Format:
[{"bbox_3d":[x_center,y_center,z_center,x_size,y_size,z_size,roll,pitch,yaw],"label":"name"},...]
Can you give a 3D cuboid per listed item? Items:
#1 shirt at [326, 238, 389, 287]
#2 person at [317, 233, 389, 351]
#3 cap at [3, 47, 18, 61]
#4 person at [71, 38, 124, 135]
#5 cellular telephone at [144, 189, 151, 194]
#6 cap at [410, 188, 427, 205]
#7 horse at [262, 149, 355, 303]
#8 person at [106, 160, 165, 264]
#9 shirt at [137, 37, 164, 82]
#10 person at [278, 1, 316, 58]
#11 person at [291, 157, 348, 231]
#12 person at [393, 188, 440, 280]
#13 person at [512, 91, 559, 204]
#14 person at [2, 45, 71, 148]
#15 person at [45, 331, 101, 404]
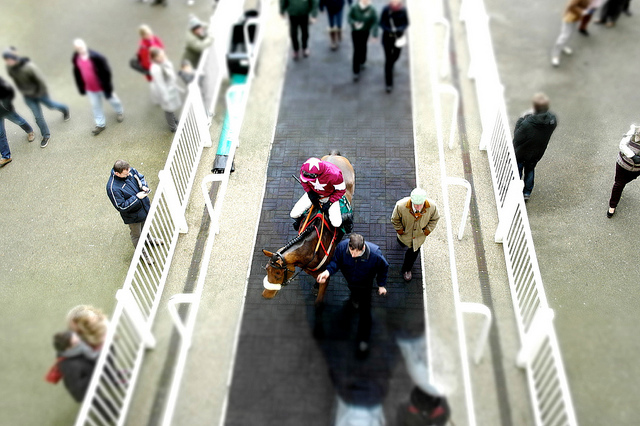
[{"bbox_3d":[0.604,0.976,8.149,0.964,1.238,0.568,6,46,7],"label":"shirt"},{"bbox_3d":[0.603,1.179,8.164,1.014,2.062,0.836,1,39,5],"label":"person"},{"bbox_3d":[-6.599,-3.385,10.431,0.305,0.308,0.266,10,25,39],"label":"cap"},{"bbox_3d":[-5.267,-3.040,11.355,0.837,2.123,1.047,-19,41,-19],"label":"person"},{"bbox_3d":[-3.310,-0.407,9.332,0.098,0.029,0.107,-11,29,26],"label":"cellular telephone"},{"bbox_3d":[1.621,-0.268,7.992,0.223,0.219,0.258,18,44,22],"label":"cap"},{"bbox_3d":[-0.193,0.342,8.631,0.540,1.675,2.440,17,85,12],"label":"horse"},{"bbox_3d":[-3.520,-0.082,9.228,0.676,1.960,0.497,-24,43,-24],"label":"person"},{"bbox_3d":[-3.869,-3.394,11.047,0.362,1.115,0.376,11,35,-19],"label":"shirt"},{"bbox_3d":[-0.494,-4.499,11.974,0.834,1.490,0.871,-3,39,0],"label":"person"},{"bbox_3d":[0.020,-0.296,8.416,0.610,1.089,0.946,20,70,19],"label":"person"},{"bbox_3d":[1.647,0.392,8.567,0.674,1.925,0.571,10,38,13],"label":"person"},{"bbox_3d":[4.171,-1.216,9.721,0.684,2.169,0.523,15,42,21],"label":"person"},{"bbox_3d":[-6.419,-2.667,11.075,0.780,2.146,0.618,-27,44,-27],"label":"person"},{"bbox_3d":[-3.784,2.261,7.631,0.713,1.033,0.457,-2,23,11],"label":"person"}]
